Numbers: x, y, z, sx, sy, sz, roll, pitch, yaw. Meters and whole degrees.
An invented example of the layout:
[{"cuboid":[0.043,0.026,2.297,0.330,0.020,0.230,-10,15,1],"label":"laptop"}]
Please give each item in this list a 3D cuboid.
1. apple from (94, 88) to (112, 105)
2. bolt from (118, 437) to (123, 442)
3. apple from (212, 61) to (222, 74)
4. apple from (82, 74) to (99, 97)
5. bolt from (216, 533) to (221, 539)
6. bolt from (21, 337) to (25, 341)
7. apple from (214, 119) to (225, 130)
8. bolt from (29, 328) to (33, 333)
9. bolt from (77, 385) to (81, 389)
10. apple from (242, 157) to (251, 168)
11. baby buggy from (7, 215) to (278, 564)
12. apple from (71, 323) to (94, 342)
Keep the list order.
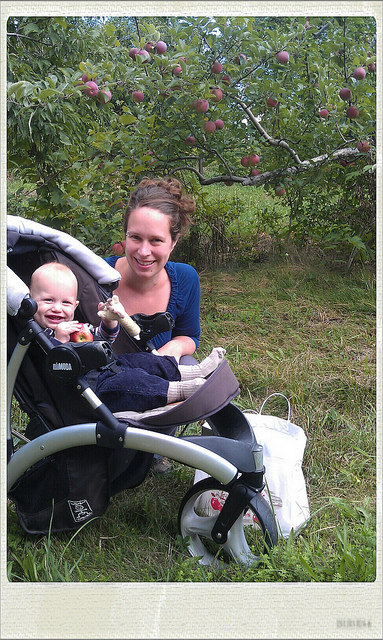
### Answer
[{"cuboid":[-0.422,-1.053,2.451,0.073,0.057,0.115,-17,12,12],"label":"apple"},{"cuboid":[-0.168,0.284,1.229,0.009,0.012,0.003,-4,-2,-1],"label":"bolt"},{"cuboid":[0.125,-1.241,2.526,0.045,0.053,0.044,-28,30,-32],"label":"apple"},{"cuboid":[-0.444,-1.041,2.267,0.068,0.090,0.087,3,10,-14],"label":"apple"},{"cuboid":[0.072,0.559,1.333,0.013,0.020,0.004,12,12,32],"label":"bolt"},{"cuboid":[-0.425,0.047,1.301,0.009,0.009,0.001,7,10,9],"label":"bolt"},{"cuboid":[0.152,-1.071,2.796,0.053,0.054,0.064,12,-17,4],"label":"apple"},{"cuboid":[-0.403,0.026,1.294,0.009,0.008,0.003,5,10,-1],"label":"bolt"},{"cuboid":[-0.276,0.164,1.267,0.010,0.010,0.002,8,10,14],"label":"bolt"},{"cuboid":[0.330,-0.950,3.096,0.055,0.068,0.056,-1,19,-6],"label":"apple"},{"cuboid":[-0.224,0.151,1.770,1.085,1.023,0.676,5,8,18],"label":"baby buggy"},{"cuboid":[-0.312,0.030,1.488,0.063,0.065,0.081,1,23,-8],"label":"apple"}]
